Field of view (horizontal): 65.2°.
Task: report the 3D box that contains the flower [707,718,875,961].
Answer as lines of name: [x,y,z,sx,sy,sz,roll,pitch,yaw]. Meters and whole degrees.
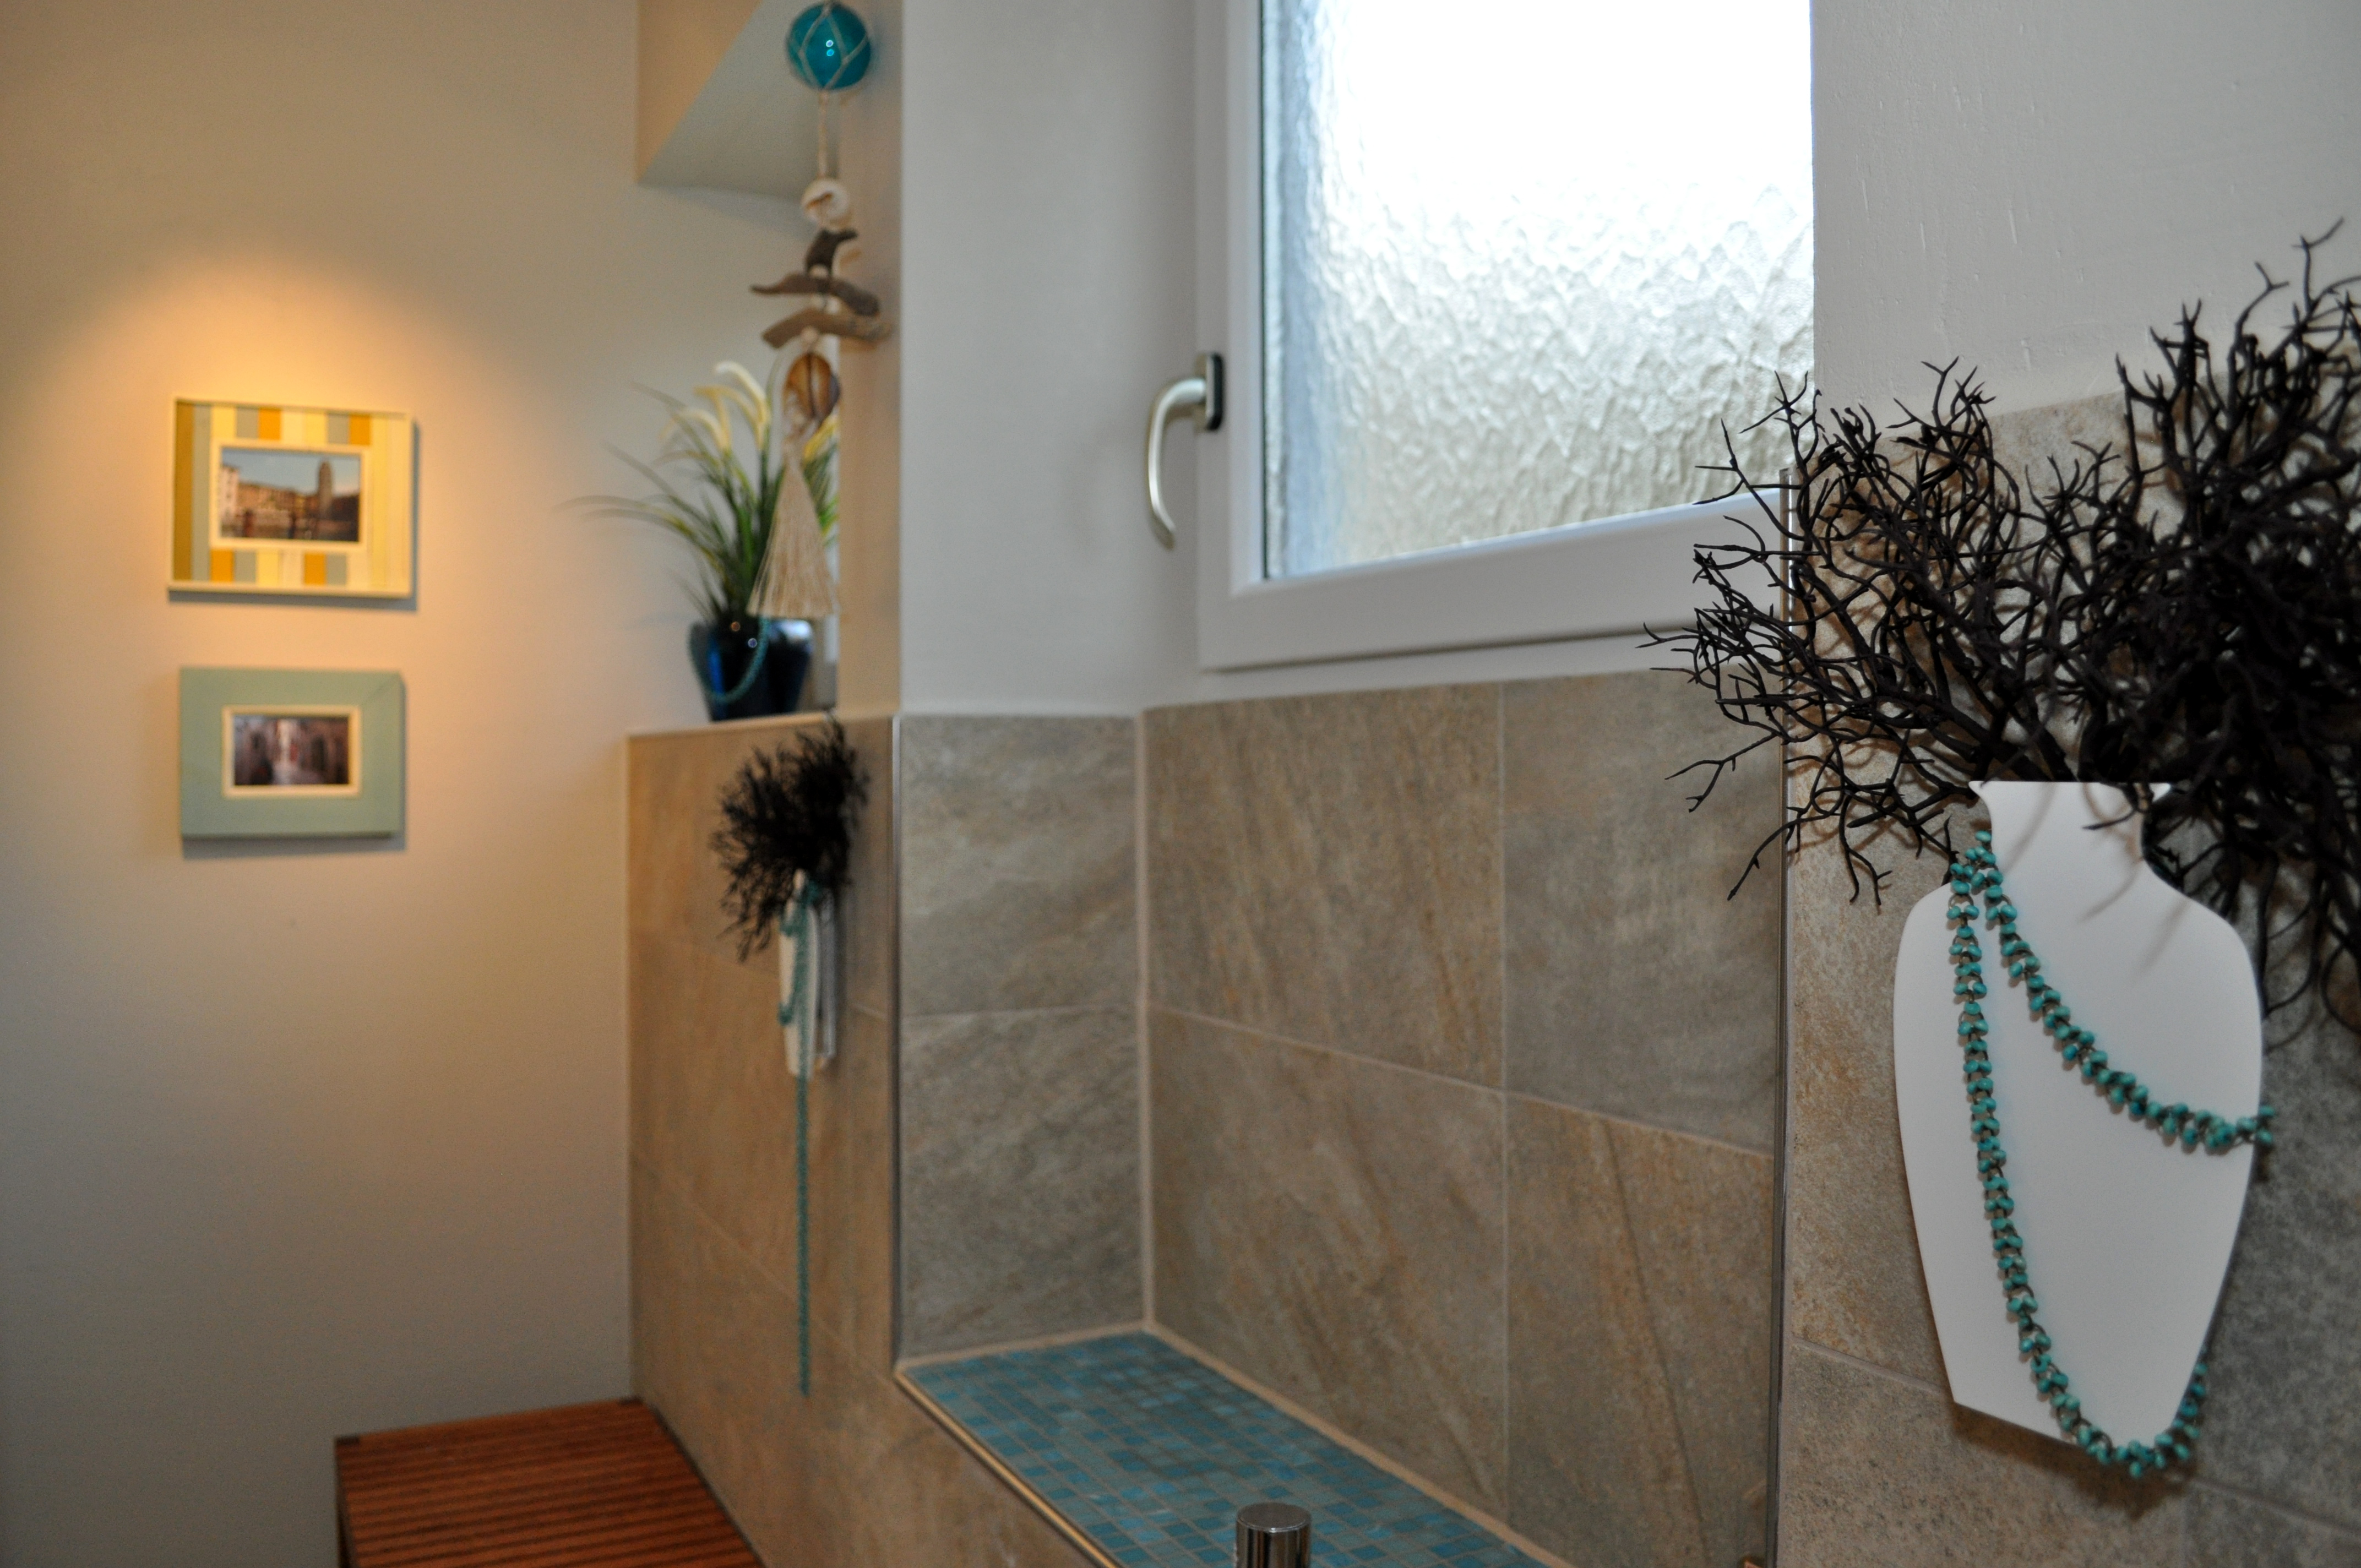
flower: [-0.409,0.086,2.033,0.085,0.283,0.233,7,-8,-34]

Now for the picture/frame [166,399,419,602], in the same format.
picture/frame: [-1.302,-0.410,2.666,0.267,0.259,0.020,1,-2,-25]

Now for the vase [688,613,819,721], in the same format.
vase: [-0.575,-0.156,2.465,0.148,0.128,0.141,2,-4,-20]

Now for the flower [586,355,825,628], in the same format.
flower: [-0.682,-0.400,2.758,0.316,0.397,0.385,6,18,32]

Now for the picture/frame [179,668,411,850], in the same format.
picture/frame: [-1.295,-0.039,2.661,0.234,0.226,0.025,0,0,-23]
